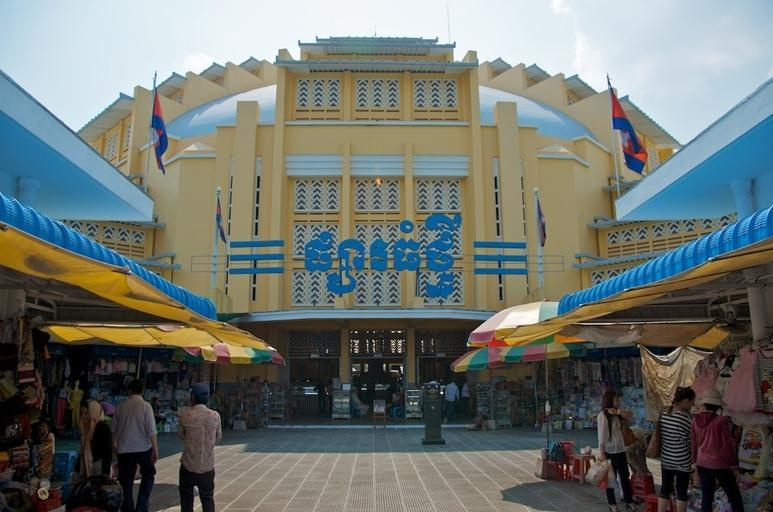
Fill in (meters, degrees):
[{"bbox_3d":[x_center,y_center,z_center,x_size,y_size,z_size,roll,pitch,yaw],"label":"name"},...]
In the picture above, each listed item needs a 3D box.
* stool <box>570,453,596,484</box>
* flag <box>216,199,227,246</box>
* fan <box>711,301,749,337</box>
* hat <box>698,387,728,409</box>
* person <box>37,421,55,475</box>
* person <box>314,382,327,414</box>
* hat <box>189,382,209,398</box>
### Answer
[{"bbox_3d":[4.531,4.900,13.345,0.383,0.636,0.761,5,-17,-22],"label":"stool"},{"bbox_3d":[-7.640,-1.777,27.005,0.588,2.341,1.555,3,-16,-15],"label":"flag"},{"bbox_3d":[7.318,1.320,12.343,0.574,0.311,0.799,-5,6,4],"label":"fan"},{"bbox_3d":[5.681,2.423,10.010,0.385,0.251,0.488,-6,-27,32],"label":"hat"},{"bbox_3d":[-6.905,3.893,11.682,0.243,1.073,0.739,4,-17,-19],"label":"person"},{"bbox_3d":[-3.375,7.368,30.259,0.638,1.554,0.445,1,-16,-7],"label":"person"},{"bbox_3d":[-3.280,2.347,10.175,0.253,0.206,0.342,6,-6,-25],"label":"hat"}]
